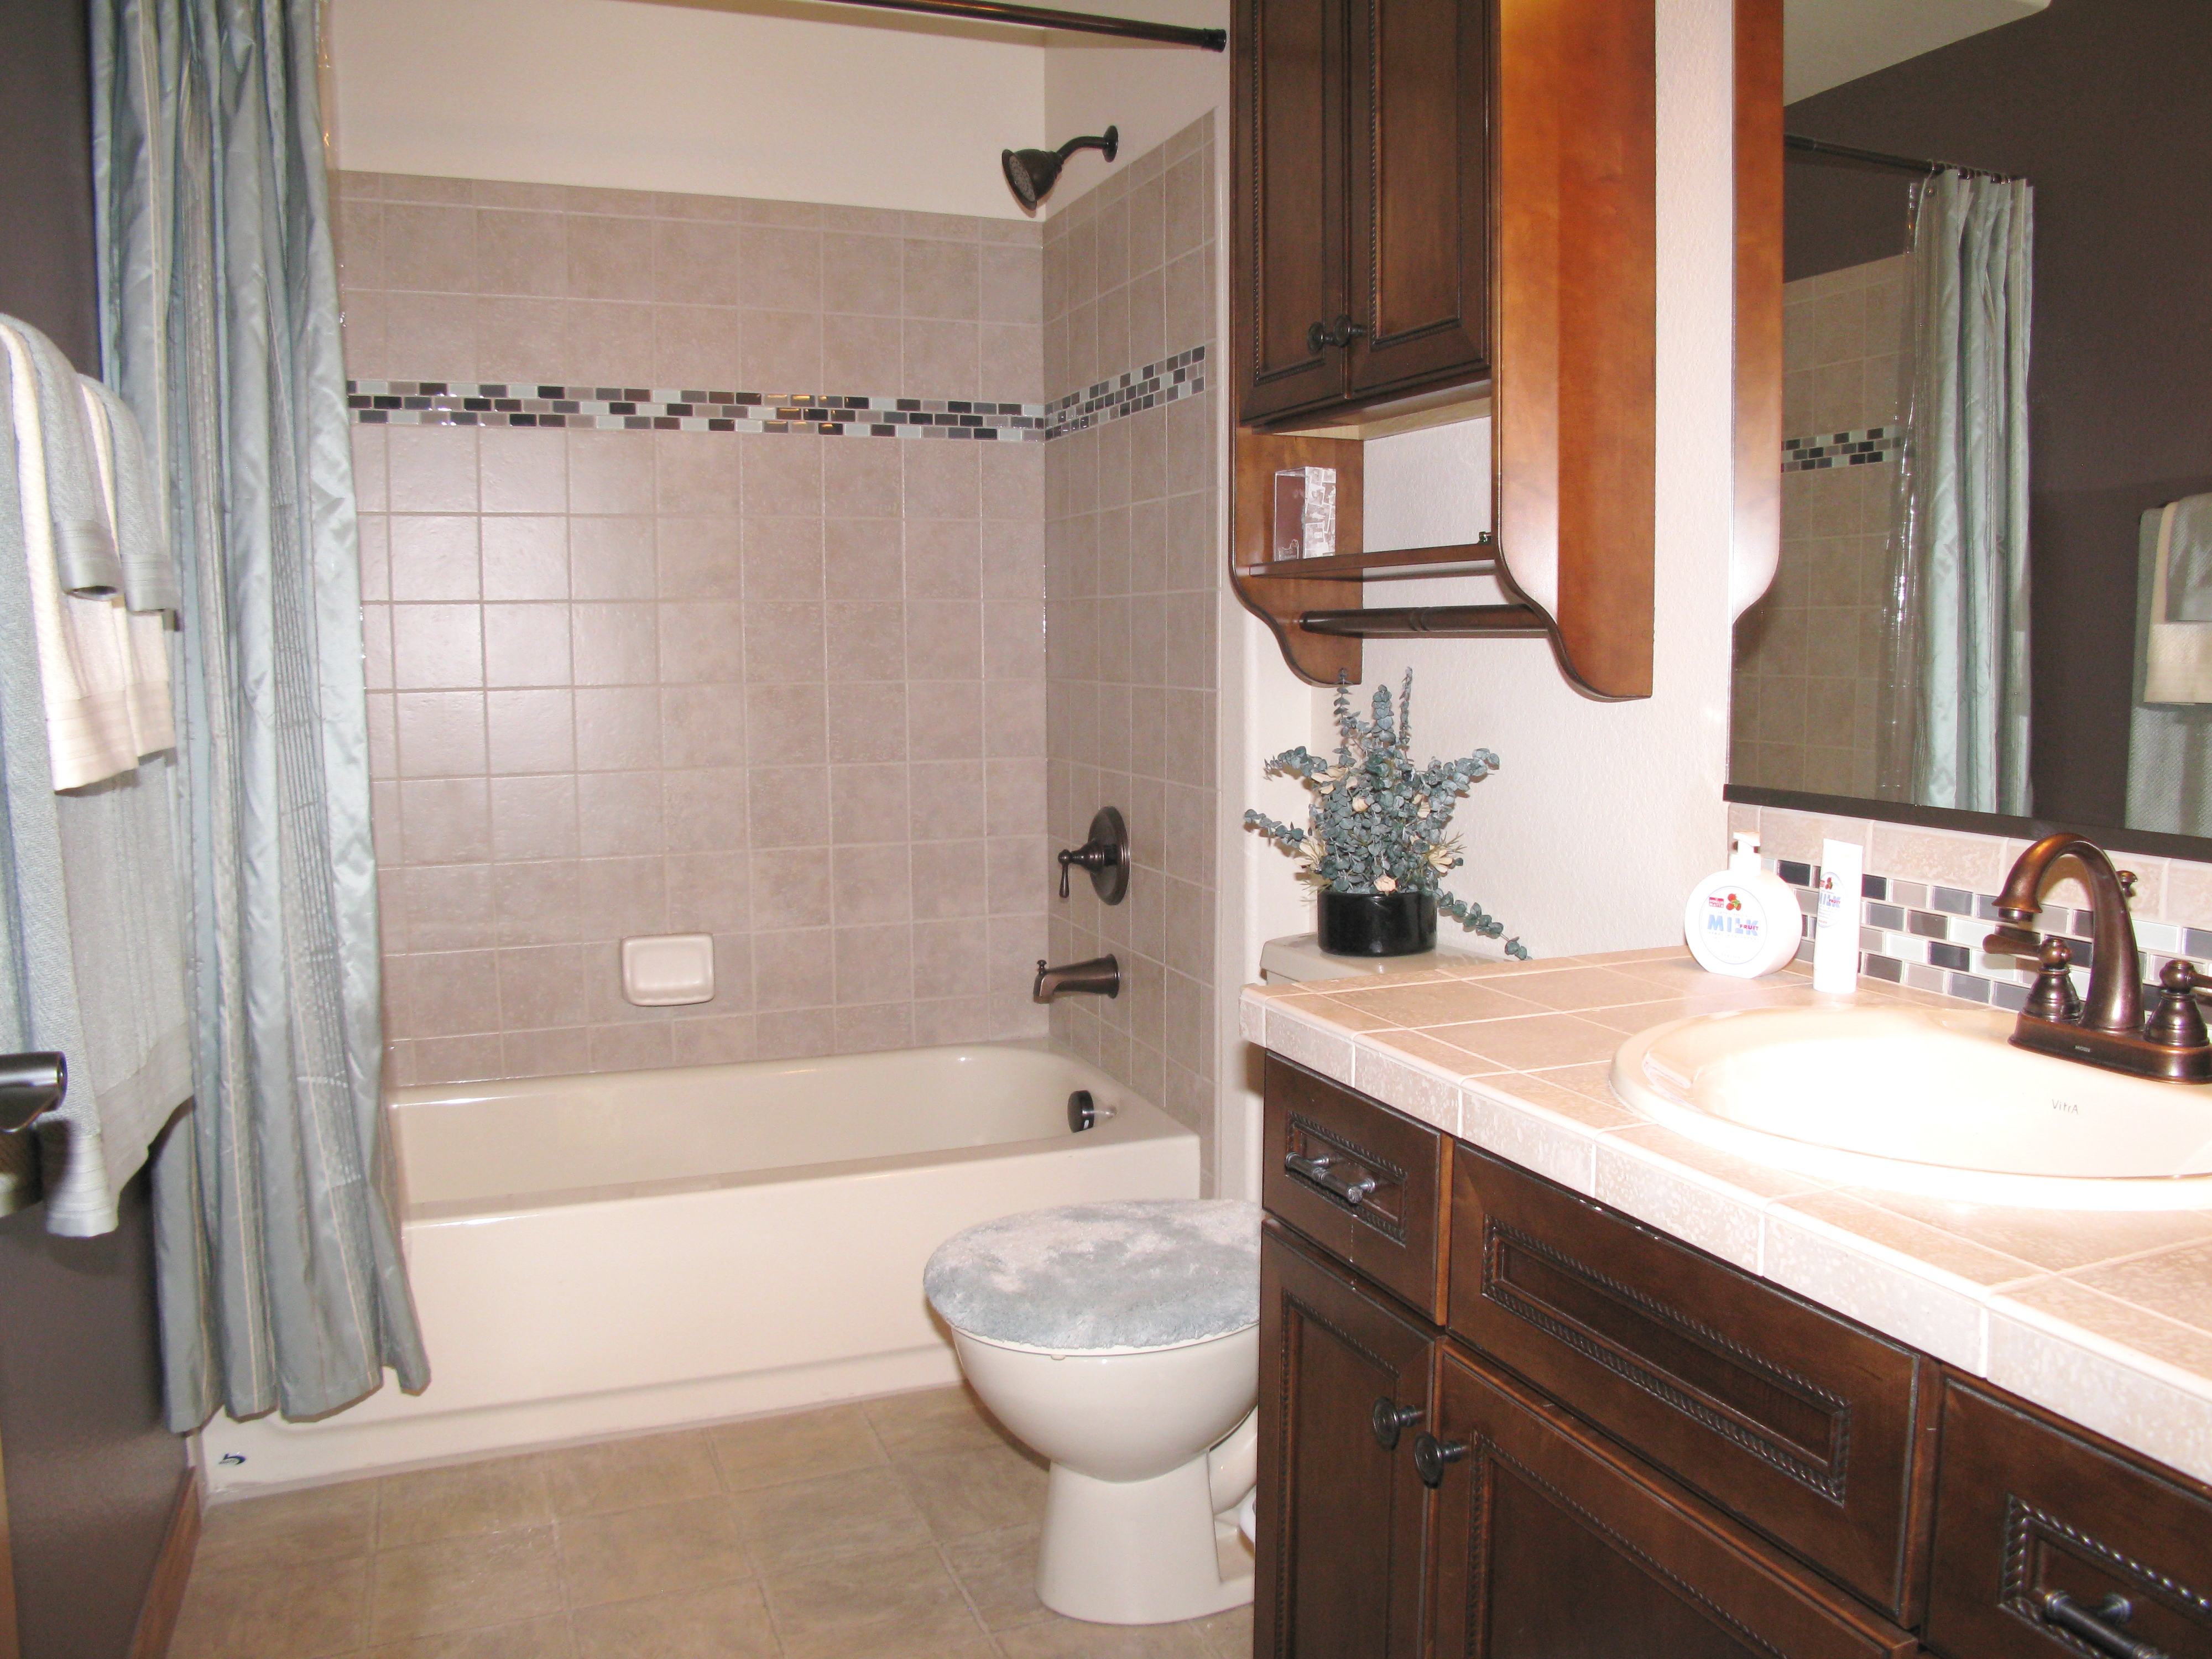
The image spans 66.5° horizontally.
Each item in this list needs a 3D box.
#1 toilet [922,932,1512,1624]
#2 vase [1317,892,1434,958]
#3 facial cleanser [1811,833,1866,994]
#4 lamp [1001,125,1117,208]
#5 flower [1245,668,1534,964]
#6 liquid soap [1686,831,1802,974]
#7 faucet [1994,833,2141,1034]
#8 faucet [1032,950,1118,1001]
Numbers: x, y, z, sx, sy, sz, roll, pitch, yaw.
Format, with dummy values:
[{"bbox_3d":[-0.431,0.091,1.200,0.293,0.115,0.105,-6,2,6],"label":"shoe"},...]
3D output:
[{"bbox_3d":[0.114,0.737,2.706,0.803,0.889,0.506,-3,9,-35],"label":"toilet"},{"bbox_3d":[0.429,0.148,2.660,0.117,0.073,0.121,2,6,17],"label":"vase"},{"bbox_3d":[0.852,0.096,1.965,0.012,0.124,0.044,-10,-3,-5],"label":"facial cleanser"},{"bbox_3d":[-0.101,-1.405,3.593,0.230,0.145,0.158,-12,19,-17],"label":"lamp"},{"bbox_3d":[0.475,-0.021,2.775,0.302,0.499,0.358,-1,8,-29],"label":"flower"},{"bbox_3d":[0.778,0.093,2.047,0.070,0.214,0.148,7,-9,-37],"label":"liquid soap"},{"bbox_3d":[0.954,0.094,1.684,0.138,0.188,0.139,5,12,25],"label":"faucet"},{"bbox_3d":[-0.057,0.330,3.810,0.143,0.091,0.117,0,3,-11],"label":"faucet"}]
